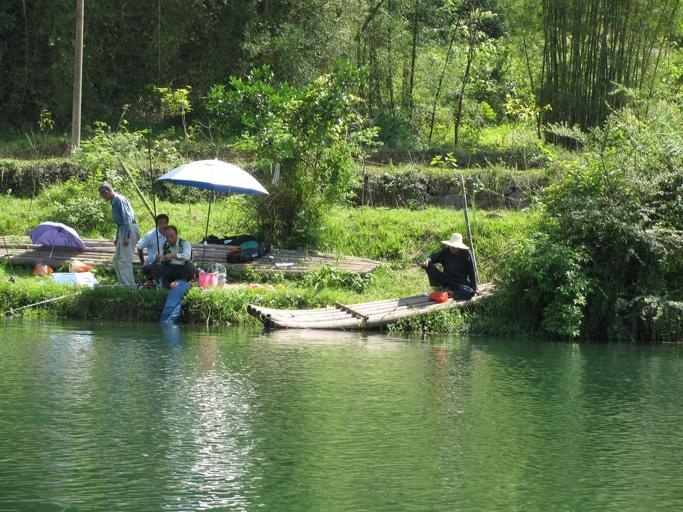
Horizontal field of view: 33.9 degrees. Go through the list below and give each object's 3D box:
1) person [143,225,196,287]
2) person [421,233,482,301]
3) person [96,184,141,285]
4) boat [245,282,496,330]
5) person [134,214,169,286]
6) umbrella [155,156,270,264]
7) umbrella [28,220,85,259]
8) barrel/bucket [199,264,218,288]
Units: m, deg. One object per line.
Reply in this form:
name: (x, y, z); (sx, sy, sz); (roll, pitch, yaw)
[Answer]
person: (-3.908, 0.039, 26.362); (0.960, 1.498, 0.886); (1, 5, -14)
person: (2.615, 0.269, 26.873); (1.206, 1.659, 1.149); (1, 4, -10)
person: (-5.191, -0.500, 26.476); (1.020, 2.292, 0.858); (1, 0, 3)
boat: (0.508, 1.305, 25.911); (5.489, 0.787, 0.919); (1, 2, -20)
person: (-4.496, -0.153, 26.736); (0.780, 1.678, 0.752); (0, 6, -14)
umbrella: (-3.291, -1.078, 28.087); (2.497, 2.743, 2.450); (1, 7, -7)
umbrella: (-7.104, -0.415, 28.091); (1.104, 0.821, 1.013); (12, 13, 44)
barrel/bucket: (-3.150, 0.482, 26.589); (0.513, 0.505, 0.516); (0, -6, 0)
